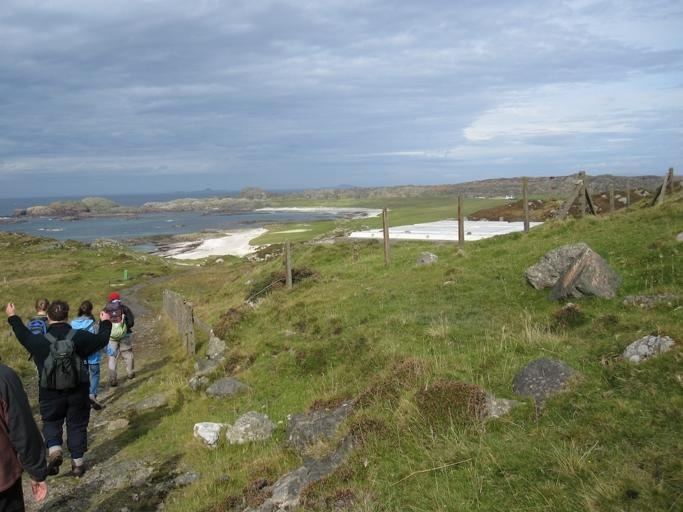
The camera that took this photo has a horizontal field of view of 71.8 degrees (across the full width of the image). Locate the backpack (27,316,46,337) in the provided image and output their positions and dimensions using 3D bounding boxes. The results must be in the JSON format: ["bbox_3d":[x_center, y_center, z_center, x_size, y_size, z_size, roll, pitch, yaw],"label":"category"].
[{"bbox_3d":[-8.027,1.886,12.481,0.382,0.462,0.480,1,-23,-28],"label":"backpack"}]

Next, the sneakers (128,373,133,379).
[{"bbox_3d":[-8.898,5.108,19.979,0.225,0.202,0.250,2,-10,-16],"label":"sneakers"}]
